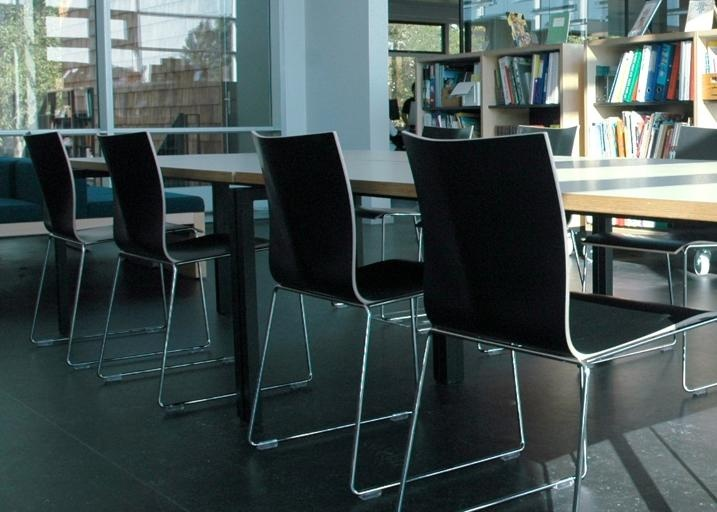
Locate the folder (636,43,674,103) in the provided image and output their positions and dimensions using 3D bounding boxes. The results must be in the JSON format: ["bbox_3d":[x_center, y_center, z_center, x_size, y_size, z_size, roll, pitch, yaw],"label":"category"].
[{"bbox_3d":[2.452,-1.511,5.013,0.068,0.451,0.259,-9,14,-38],"label":"folder"}]

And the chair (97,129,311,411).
[{"bbox_3d":[-0.777,-0.021,3.324,1.181,1.806,0.992,-3,6,-31],"label":"chair"}]
